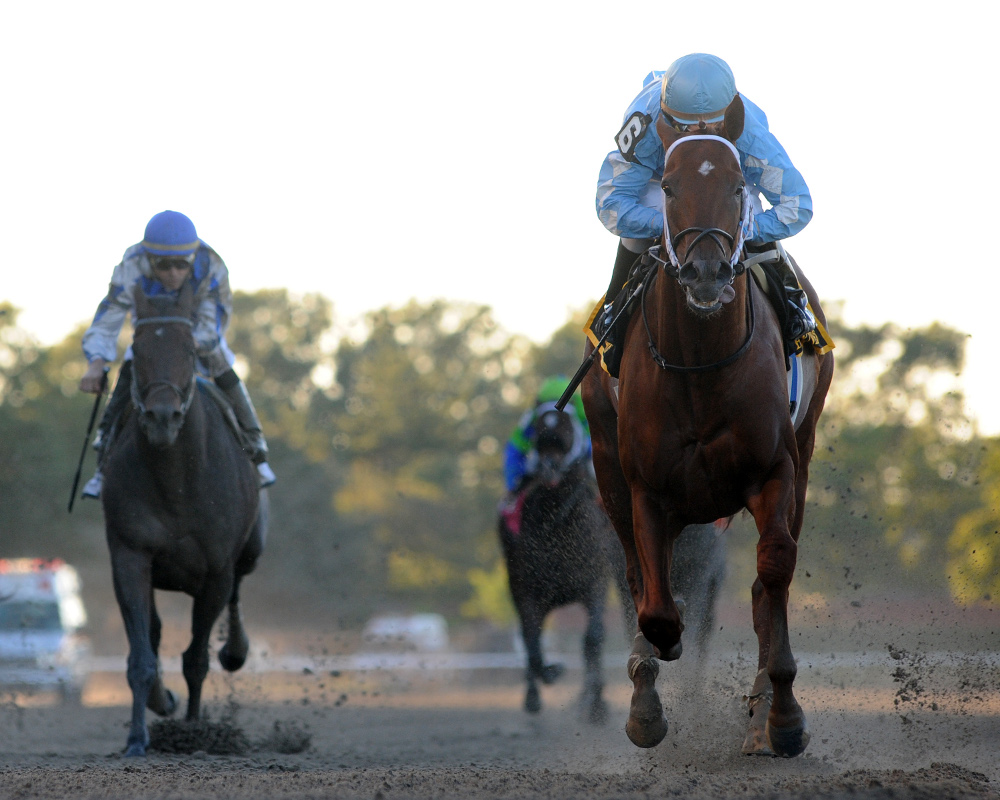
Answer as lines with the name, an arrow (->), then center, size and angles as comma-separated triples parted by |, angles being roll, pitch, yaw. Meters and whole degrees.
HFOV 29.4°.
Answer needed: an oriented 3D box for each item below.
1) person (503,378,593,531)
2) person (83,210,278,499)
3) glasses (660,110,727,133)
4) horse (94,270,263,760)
person -> 0.281, 0.439, 18.041 | 0.485, 1.888, 0.995 | 18, -1, -3
person -> -2.582, -0.310, 14.822 | 1.512, 2.204, 1.124 | -5, 11, -30
glasses -> 1.284, -1.837, 12.623 | 0.428, 0.108, 0.101 | 5, -1, 8
horse -> -2.450, 0.849, 14.652 | 0.875, 3.174, 1.904 | 4, -1, 8
